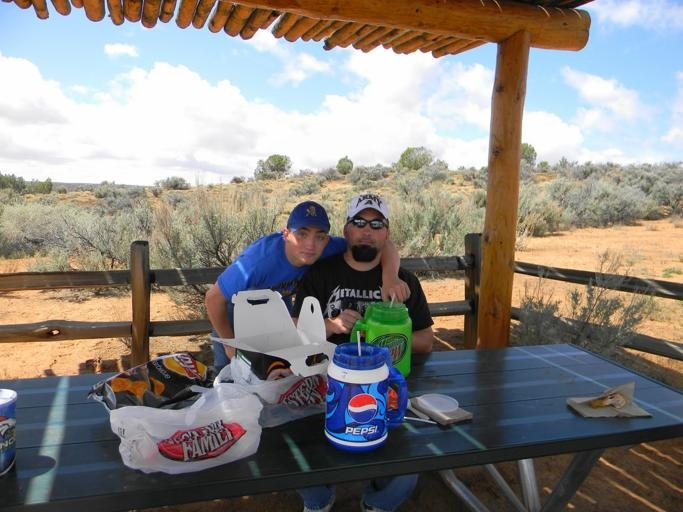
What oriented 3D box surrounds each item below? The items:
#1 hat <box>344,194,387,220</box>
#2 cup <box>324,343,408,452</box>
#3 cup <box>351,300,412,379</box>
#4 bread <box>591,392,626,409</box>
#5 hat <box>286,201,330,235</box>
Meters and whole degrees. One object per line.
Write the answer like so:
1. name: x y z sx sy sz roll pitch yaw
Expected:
1. hat: 0.151 -0.350 2.829 0.252 0.192 0.418 4 -5 0
2. cup: 0.088 0.500 1.587 0.381 0.438 0.288 3 3 21
3. cup: 0.197 0.366 1.815 0.379 0.412 0.233 -1 4 4
4. bread: 1.149 0.637 1.776 0.129 0.066 0.048 -9 -30 22
5. hat: -0.239 -0.256 2.698 0.282 0.208 0.224 -2 10 -14
